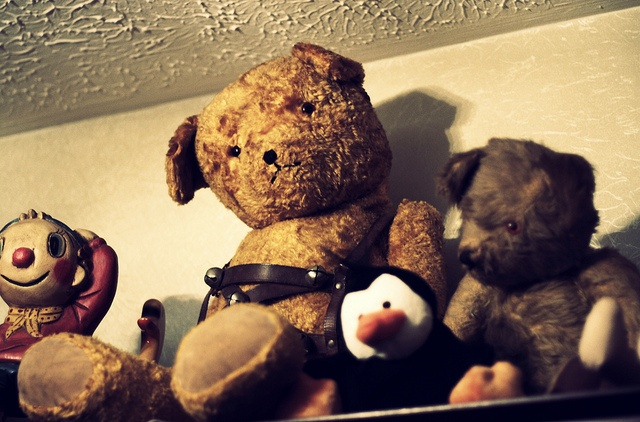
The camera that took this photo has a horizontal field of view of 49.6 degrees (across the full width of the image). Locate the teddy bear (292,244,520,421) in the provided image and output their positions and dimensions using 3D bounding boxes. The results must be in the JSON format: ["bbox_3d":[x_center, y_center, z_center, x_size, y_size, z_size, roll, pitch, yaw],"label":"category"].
[{"bbox_3d":[0.160,0.257,1.467,0.471,0.197,0.309,-9,36,-1],"label":"teddy bear"}]

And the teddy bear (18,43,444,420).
[{"bbox_3d":[-0.256,0.096,1.808,0.810,0.929,0.953,-17,70,40],"label":"teddy bear"}]
